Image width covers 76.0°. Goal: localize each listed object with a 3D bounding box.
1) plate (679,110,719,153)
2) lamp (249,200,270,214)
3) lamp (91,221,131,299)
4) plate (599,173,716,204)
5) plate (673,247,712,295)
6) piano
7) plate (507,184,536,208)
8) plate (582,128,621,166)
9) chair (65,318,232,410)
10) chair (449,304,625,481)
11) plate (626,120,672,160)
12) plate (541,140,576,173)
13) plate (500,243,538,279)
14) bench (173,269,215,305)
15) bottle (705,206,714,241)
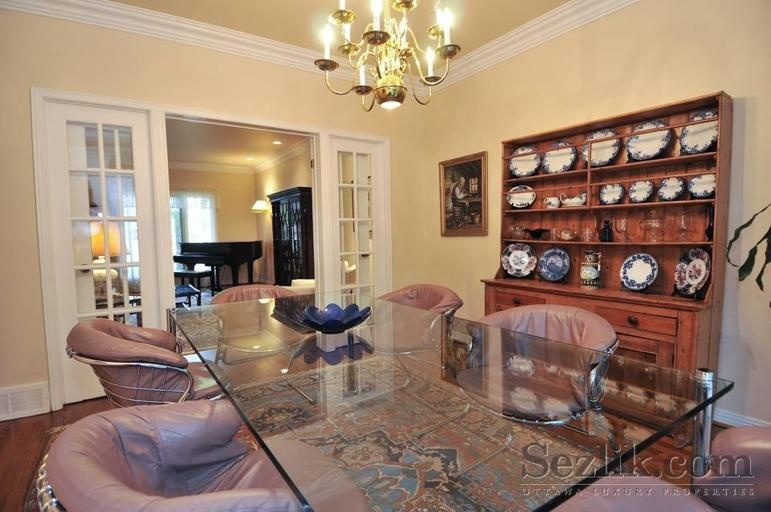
[{"bbox_3d":[2.444,-0.966,3.851,0.233,0.341,0.227,0,7,16],"label":"plate"},{"bbox_3d":[-2.526,-0.993,10.039,0.389,0.345,0.385,-5,10,-30],"label":"lamp"},{"bbox_3d":[-2.529,0.041,4.512,0.255,0.703,0.065,-7,8,-32],"label":"lamp"},{"bbox_3d":[2.216,-0.541,4.083,0.853,0.207,0.096,4,9,43],"label":"plate"},{"bbox_3d":[2.405,0.130,3.881,0.206,0.360,0.256,-7,8,-34],"label":"plate"},{"bbox_3d":[-3.205,0.178,9.909,0.979,0.784,1.239,-3,-3,33],"label":"piano"},{"bbox_3d":[1.336,-0.577,4.861,0.235,0.235,0.047,0,2,33],"label":"plate"},{"bbox_3d":[1.896,-0.937,4.323,0.062,0.314,0.314,7,-6,-39],"label":"plate"},{"bbox_3d":[-1.560,0.599,3.172,0.750,0.665,0.753,-6,13,-31],"label":"chair"},{"bbox_3d":[0.865,0.760,2.918,0.695,0.333,0.773,-9,10,-44],"label":"chair"},{"bbox_3d":[2.168,-0.953,4.067,0.337,0.329,0.221,1,8,28],"label":"plate"},{"bbox_3d":[1.619,-0.907,4.614,0.066,0.285,0.287,1,-12,-35],"label":"plate"},{"bbox_3d":[1.321,0.063,4.888,0.340,0.340,0.081,-2,-5,31],"label":"plate"},{"bbox_3d":[-3.276,0.523,8.446,0.374,0.279,0.580,-9,16,-35],"label":"bench"},{"bbox_3d":[2.494,-0.251,3.802,0.055,0.276,0.210,2,8,31],"label":"bottle"}]
